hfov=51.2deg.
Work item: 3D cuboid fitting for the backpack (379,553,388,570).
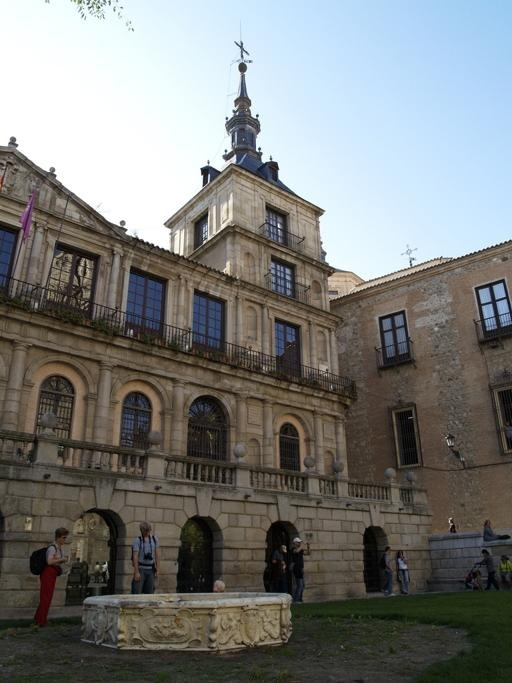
[{"bbox_3d":[4.495,7.782,18.974,0.201,0.553,0.552,-3,-19,4],"label":"backpack"}]

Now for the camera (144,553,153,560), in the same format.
[{"bbox_3d":[-1.871,3.735,9.336,0.110,0.102,0.107,20,-40,-28],"label":"camera"}]

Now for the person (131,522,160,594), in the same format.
[{"bbox_3d":[-1.950,3.809,9.424,0.430,1.192,0.924,2,-19,-10],"label":"person"}]

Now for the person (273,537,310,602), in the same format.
[{"bbox_3d":[0.945,6.702,15.741,0.821,1.757,1.535,3,-20,-14],"label":"person"}]

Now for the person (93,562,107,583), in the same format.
[{"bbox_3d":[-4.225,6.236,14.588,0.269,0.465,0.725,11,-22,-32],"label":"person"}]

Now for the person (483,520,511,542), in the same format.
[{"bbox_3d":[8.694,6.884,19.497,0.830,0.730,0.885,-7,-19,15],"label":"person"}]

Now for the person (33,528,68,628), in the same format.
[{"bbox_3d":[-3.333,3.743,8.541,0.553,1.455,0.897,6,-20,-20],"label":"person"}]

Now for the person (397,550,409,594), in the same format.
[{"bbox_3d":[5.393,8.502,19.831,0.417,1.435,1.367,-6,-19,12],"label":"person"}]
